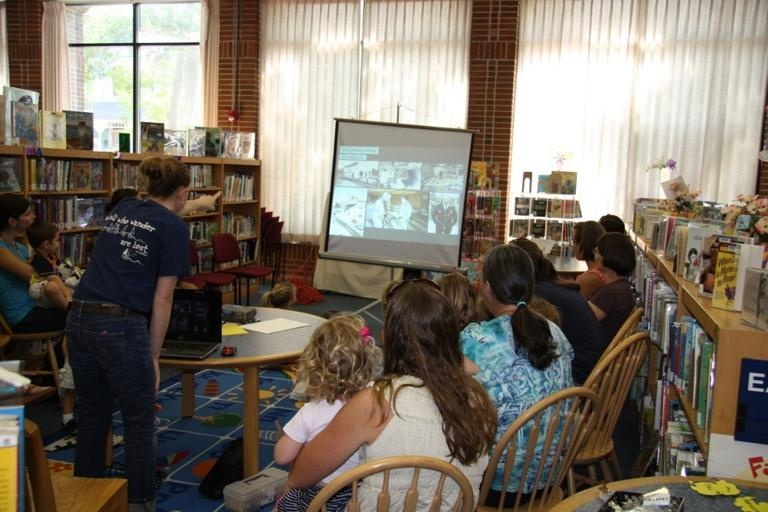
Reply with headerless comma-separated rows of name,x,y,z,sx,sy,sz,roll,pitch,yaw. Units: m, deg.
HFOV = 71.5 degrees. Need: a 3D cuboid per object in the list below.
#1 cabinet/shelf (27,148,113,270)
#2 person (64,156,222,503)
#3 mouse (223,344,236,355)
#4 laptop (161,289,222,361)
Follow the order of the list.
cabinet/shelf,-2.777,-0.440,4.657,0.308,1.227,1.074,2,6,8
person,-1.325,0.397,2.751,0.587,1.811,0.407,0,7,-23
mouse,-0.891,0.545,3.053,0.079,0.047,0.082,1,8,-20
laptop,-1.110,0.389,3.168,0.437,0.419,0.340,1,1,7
